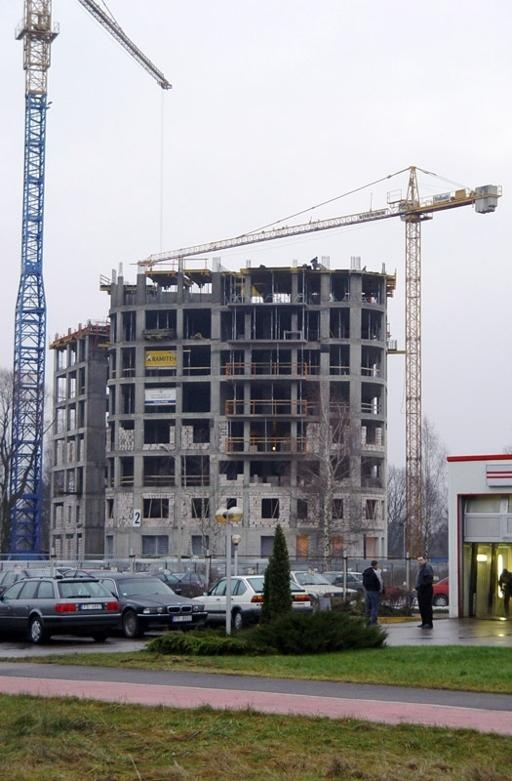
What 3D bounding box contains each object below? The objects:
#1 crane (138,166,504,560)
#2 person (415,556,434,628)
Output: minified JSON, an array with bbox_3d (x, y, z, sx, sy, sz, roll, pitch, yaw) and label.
[{"bbox_3d":[1.173,1.139,85.168,20.211,27.354,1.978,-2,-6,16],"label":"crane"},{"bbox_3d":[3.051,3.694,27.623,0.285,1.300,0.771,0,-8,6],"label":"person"}]
